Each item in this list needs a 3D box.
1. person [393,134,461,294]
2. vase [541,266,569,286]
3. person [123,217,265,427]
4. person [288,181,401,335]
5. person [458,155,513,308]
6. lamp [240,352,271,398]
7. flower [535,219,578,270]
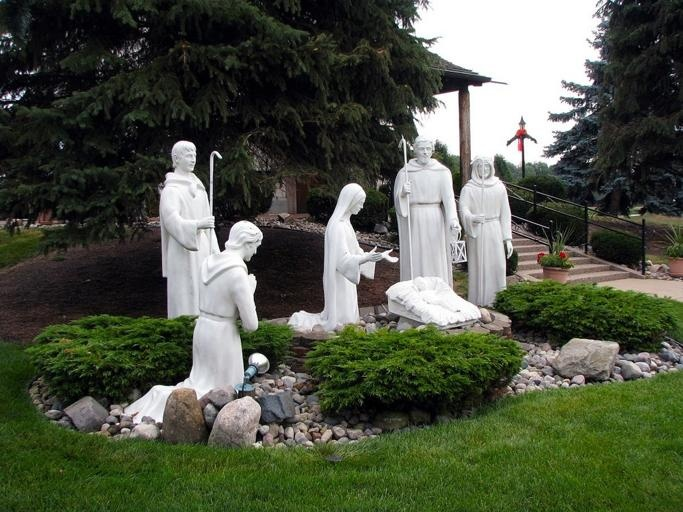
[{"bbox_3d":[1.326,-0.675,8.069,0.986,2.324,0.592,0,9,2],"label":"person"},{"bbox_3d":[4.355,0.391,10.548,0.315,0.261,0.338,4,-2,-10],"label":"vase"},{"bbox_3d":[-1.256,0.554,5.482,0.799,1.779,0.390,-1,9,-4],"label":"person"},{"bbox_3d":[-0.064,0.037,6.936,1.113,1.945,0.649,0,10,4],"label":"person"},{"bbox_3d":[2.475,-0.423,8.848,0.848,2.484,0.753,-9,12,-40],"label":"person"},{"bbox_3d":[-0.980,1.332,5.676,0.203,0.282,0.449,15,35,15],"label":"lamp"},{"bbox_3d":[5.713,-0.302,13.658,0.831,1.588,1.109,11,-4,-3],"label":"flower"}]
